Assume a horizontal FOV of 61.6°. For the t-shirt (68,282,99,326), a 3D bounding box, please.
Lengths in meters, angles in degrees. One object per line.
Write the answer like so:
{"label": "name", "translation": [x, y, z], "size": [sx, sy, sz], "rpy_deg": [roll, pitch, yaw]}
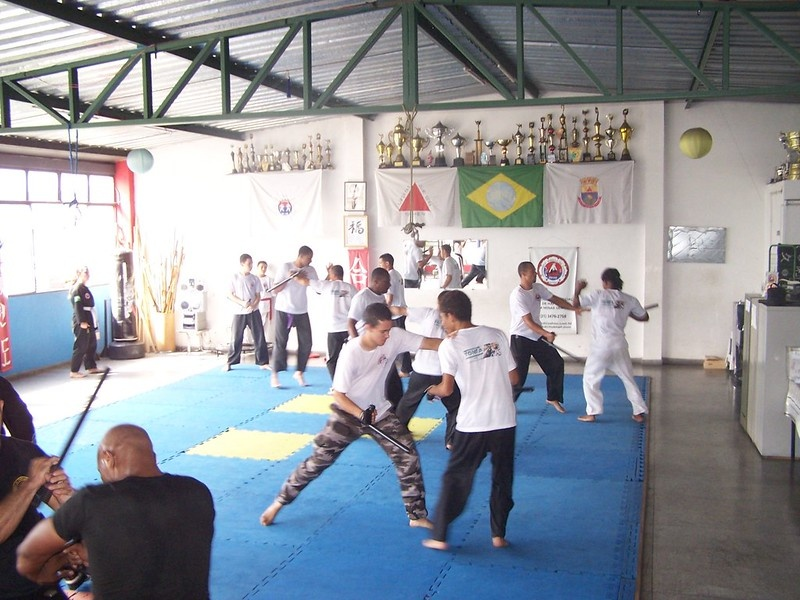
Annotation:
{"label": "t-shirt", "translation": [-5.446, 0.142, 11.525], "size": [0.374, 0.806, 0.315], "rpy_deg": [-8, 9, -34]}

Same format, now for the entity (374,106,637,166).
{"label": "entity", "translation": [2.269, -2.816, 11.967], "size": [3.677, 1.005, 0.373], "rpy_deg": [-1, 7, 14]}

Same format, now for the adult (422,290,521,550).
{"label": "adult", "translation": [0.574, 1.019, 5.421], "size": [0.776, 2.155, 0.482], "rpy_deg": [-2, 7, 6]}

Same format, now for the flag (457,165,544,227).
{"label": "flag", "translation": [1.892, -1.864, 12.070], "size": [1.012, 0.832, 0.050], "rpy_deg": [0, 0, 6]}

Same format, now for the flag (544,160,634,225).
{"label": "flag", "translation": [3.390, -1.869, 11.734], "size": [1.007, 0.816, 0.079], "rpy_deg": [1, 7, 14]}

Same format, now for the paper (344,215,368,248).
{"label": "paper", "translation": [-0.819, -1.289, 12.803], "size": [0.533, 0.778, 0.073], "rpy_deg": [1, 4, 7]}

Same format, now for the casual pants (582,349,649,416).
{"label": "casual pants", "translation": [2.932, 1.181, 9.124], "size": [0.733, 1.029, 0.356], "rpy_deg": [-1, 37, 12]}

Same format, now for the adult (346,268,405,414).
{"label": "adult", "translation": [-0.317, 0.551, 8.954], "size": [0.761, 2.087, 0.520], "rpy_deg": [-9, 22, -22]}

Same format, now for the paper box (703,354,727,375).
{"label": "paper box", "translation": [5.422, 1.139, 11.468], "size": [0.284, 0.204, 0.291], "rpy_deg": [1, 6, 12]}

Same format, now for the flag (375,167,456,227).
{"label": "flag", "translation": [0.358, -1.886, 12.356], "size": [1.353, 1.081, 0.106], "rpy_deg": [-1, 8, 9]}

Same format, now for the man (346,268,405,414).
{"label": "man", "translation": [-0.310, 0.575, 8.924], "size": [0.760, 2.057, 0.564], "rpy_deg": [-7, 22, -22]}

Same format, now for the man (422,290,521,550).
{"label": "man", "translation": [0.573, 1.019, 5.420], "size": [0.775, 2.155, 0.481], "rpy_deg": [-2, 7, 6]}

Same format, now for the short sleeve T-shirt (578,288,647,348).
{"label": "short sleeve T-shirt", "translation": [2.605, 0.157, 8.477], "size": [0.885, 0.847, 0.630], "rpy_deg": [1, 12, -2]}

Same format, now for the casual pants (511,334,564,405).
{"label": "casual pants", "translation": [1.797, 0.950, 8.747], "size": [0.777, 1.187, 0.407], "rpy_deg": [-2, 31, 5]}

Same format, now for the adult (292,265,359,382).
{"label": "adult", "translation": [-0.989, 0.427, 9.888], "size": [0.789, 2.078, 0.634], "rpy_deg": [-10, 21, -18]}
